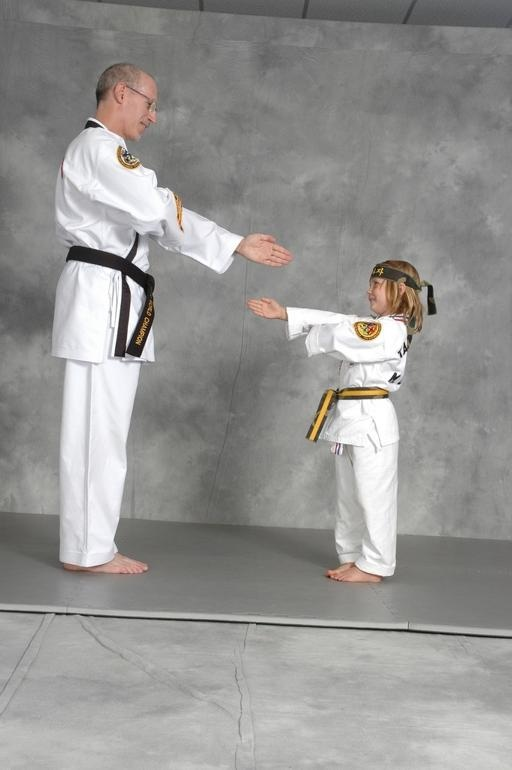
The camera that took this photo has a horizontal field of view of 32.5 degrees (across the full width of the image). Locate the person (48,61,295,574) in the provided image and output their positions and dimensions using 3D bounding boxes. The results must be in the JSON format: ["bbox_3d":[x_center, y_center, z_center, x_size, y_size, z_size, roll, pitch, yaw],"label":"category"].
[{"bbox_3d":[-0.424,-0.228,3.056,0.634,1.750,0.373,5,5,11],"label":"person"}]
